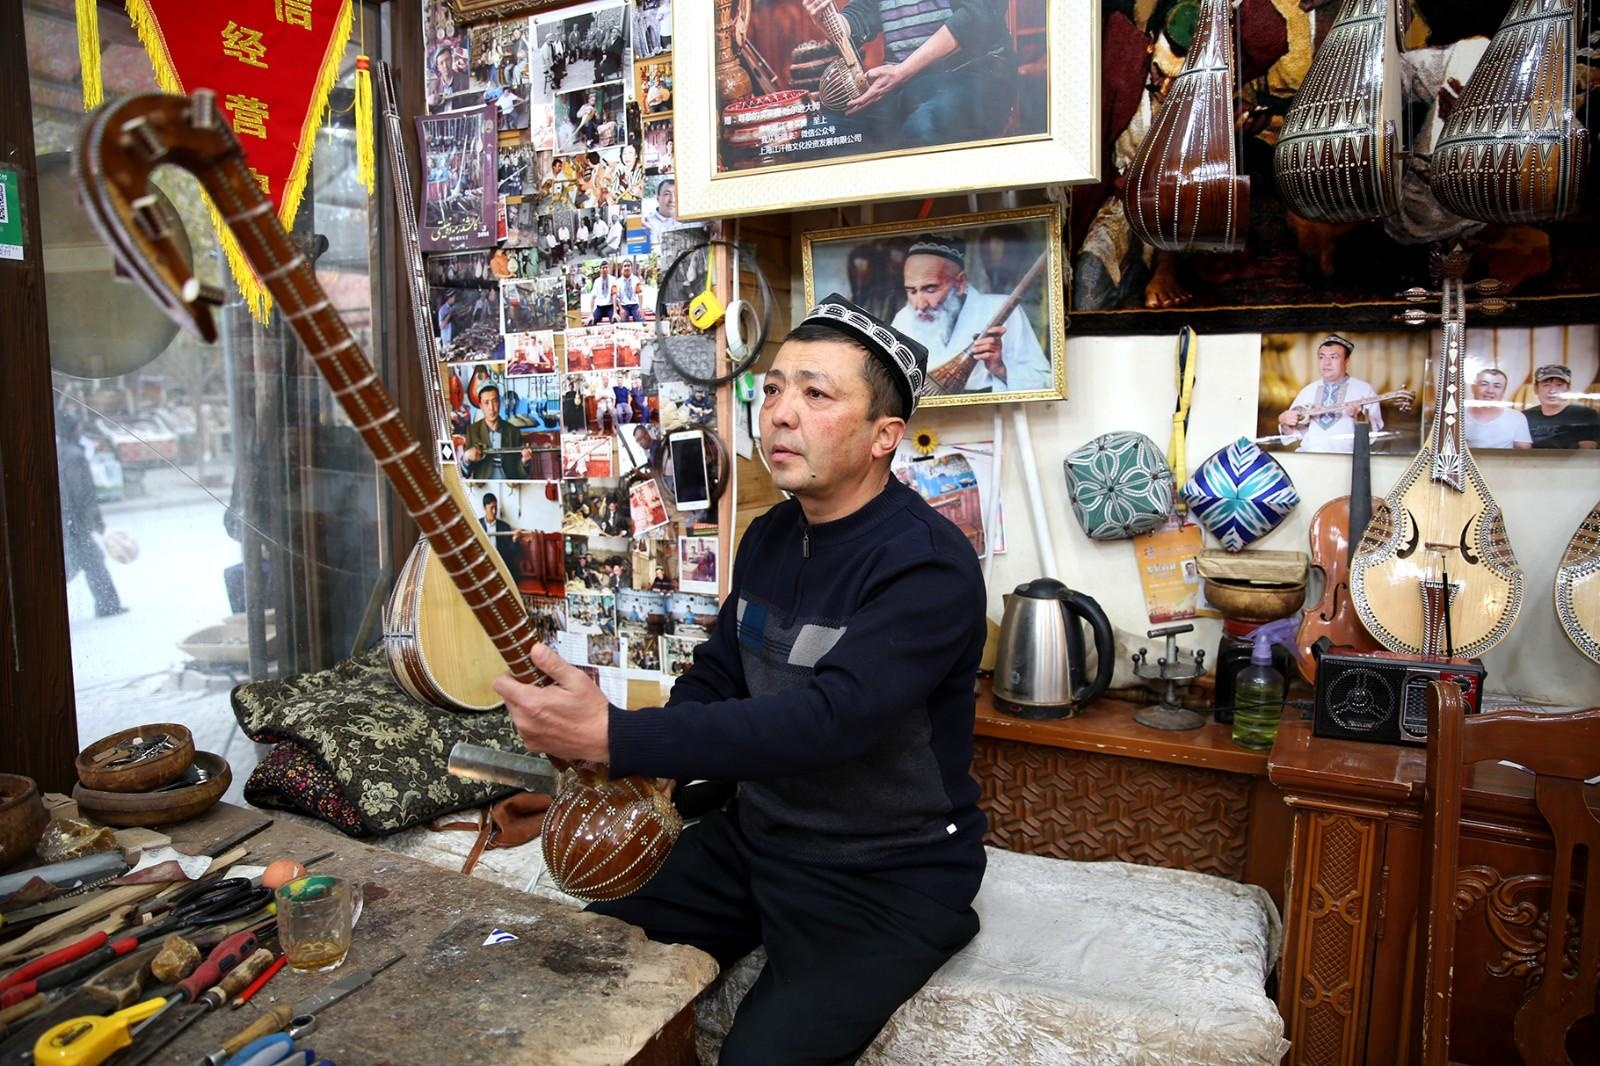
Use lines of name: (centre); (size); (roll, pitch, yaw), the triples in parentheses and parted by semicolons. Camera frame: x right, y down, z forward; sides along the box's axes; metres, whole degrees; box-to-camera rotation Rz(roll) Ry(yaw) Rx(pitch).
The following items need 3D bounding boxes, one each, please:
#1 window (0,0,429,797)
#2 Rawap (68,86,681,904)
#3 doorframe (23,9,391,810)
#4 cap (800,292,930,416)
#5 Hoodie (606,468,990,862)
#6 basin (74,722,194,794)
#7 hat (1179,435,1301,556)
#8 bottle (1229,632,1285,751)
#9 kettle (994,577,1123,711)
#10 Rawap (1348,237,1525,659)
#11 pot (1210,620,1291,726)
window: (-1.905, -0.301, 4.123); (1.250, 2.556, 0.580); (-3, 4, -38)
Rawap: (-1.291, -0.117, 3.672); (0.619, 2.618, 0.829); (-37, 32, -17)
doorframe: (-1.979, -0.272, 4.034); (0.542, 2.581, 1.264); (2, 4, 39)
cap: (0.197, -0.472, 3.132); (0.318, 0.153, 0.291); (35, -3, 5)
Hoodie: (0.011, 0.369, 3.233); (1.020, 0.942, 0.773); (7, -2, -37)
basin: (-1.757, 0.602, 3.217); (0.271, 0.128, 0.284); (-1, 8, 0)
hat: (1.345, -0.165, 3.759); (0.357, 0.161, 0.366); (13, -32, 29)
bottle: (1.318, 0.427, 3.480); (0.135, 0.336, 0.137); (-1, 17, 0)
kettle: (0.769, 0.344, 3.736); (0.384, 0.423, 0.345); (9, 16, 35)
Rawap: (1.718, -0.217, 3.288); (0.407, 1.103, 0.238); (-2, 6, -8)
pot: (1.327, 0.468, 3.600); (0.162, 0.246, 0.162); (14, 6, -1)
